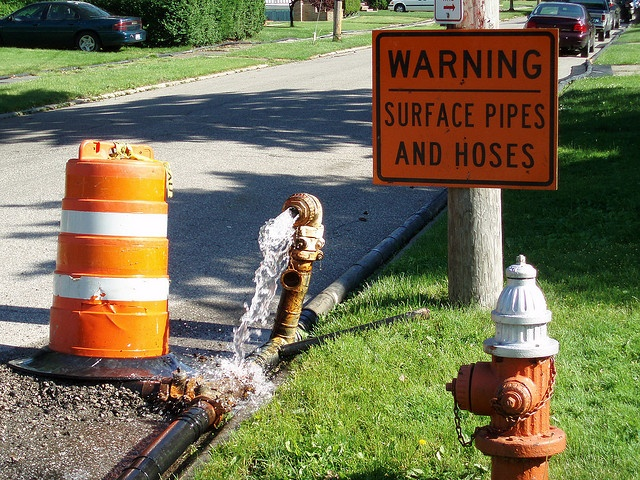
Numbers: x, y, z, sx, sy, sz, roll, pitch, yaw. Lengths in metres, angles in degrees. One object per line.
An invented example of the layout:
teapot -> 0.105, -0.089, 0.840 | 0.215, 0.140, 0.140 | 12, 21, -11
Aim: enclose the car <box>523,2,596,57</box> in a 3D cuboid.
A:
car -> 6.858, -5.986, 27.806 | 1.643, 1.597, 4.274 | 2, 13, 14
